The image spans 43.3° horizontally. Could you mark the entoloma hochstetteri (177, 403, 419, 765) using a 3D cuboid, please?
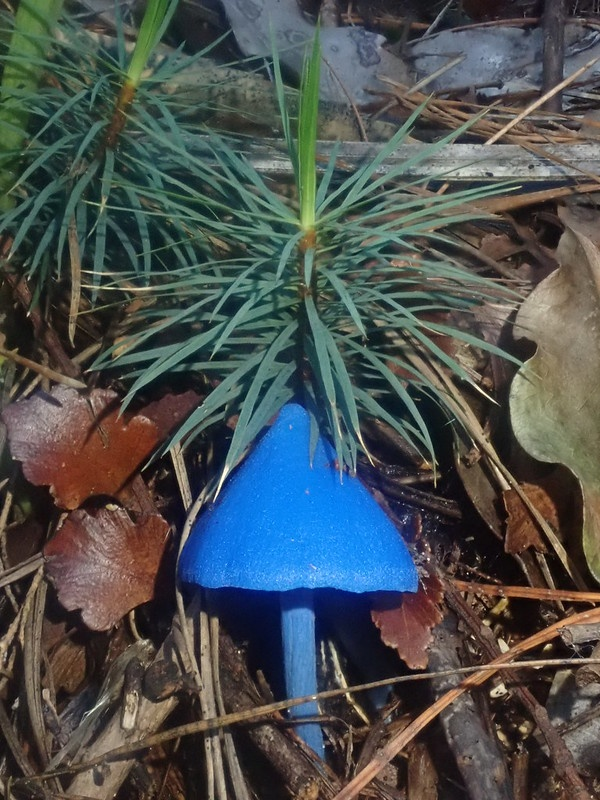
[{"bbox_3d":[-0.001,0.303,1.252,0.297,0.515,0.326,-34,47,-24],"label":"entoloma hochstetteri"}]
